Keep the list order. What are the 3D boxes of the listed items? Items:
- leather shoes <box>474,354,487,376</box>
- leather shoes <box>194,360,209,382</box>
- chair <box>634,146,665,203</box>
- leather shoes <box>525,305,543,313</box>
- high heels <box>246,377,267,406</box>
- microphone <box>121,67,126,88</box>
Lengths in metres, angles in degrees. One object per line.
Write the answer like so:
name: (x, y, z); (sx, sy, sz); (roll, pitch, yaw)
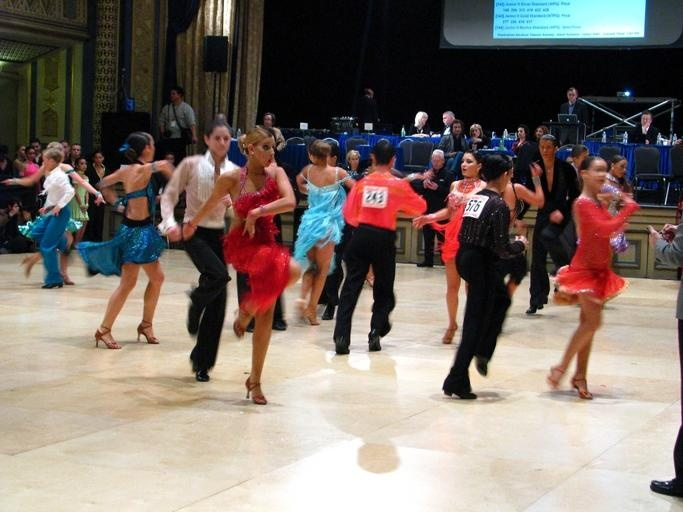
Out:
leather shoes: (1.008, 0.789, 3.988); (0.106, 0.147, 0.037); (-19, 18, -20)
leather shoes: (-1.072, 0.904, 4.208); (0.071, 0.081, 0.190); (2, 2, -32)
chair: (6.890, -1.891, 12.344); (0.650, 1.268, 0.783); (3, 6, 12)
leather shoes: (2.741, 0.741, 7.687); (0.335, 0.146, 0.113); (-1, -2, -30)
high heels: (-0.570, 0.918, 3.667); (0.084, 0.154, 0.245); (1, 0, -34)
microphone: (-6.408, -5.367, 16.194); (0.117, 0.524, 0.211); (3, 10, 15)
